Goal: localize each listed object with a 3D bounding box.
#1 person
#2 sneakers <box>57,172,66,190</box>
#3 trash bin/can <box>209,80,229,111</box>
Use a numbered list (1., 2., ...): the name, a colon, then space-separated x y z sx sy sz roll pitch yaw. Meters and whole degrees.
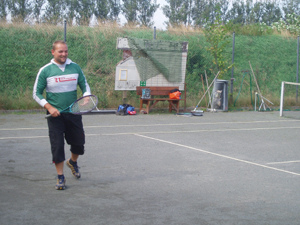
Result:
1. person: -1.591 0.002 6.961 1.009 2.606 0.738 -1 6 -20
2. sneakers: -1.587 1.231 6.741 0.190 0.234 0.244 0 7 -14
3. trash bin/can: 3.661 -0.878 19.822 0.845 1.618 0.707 2 6 11
